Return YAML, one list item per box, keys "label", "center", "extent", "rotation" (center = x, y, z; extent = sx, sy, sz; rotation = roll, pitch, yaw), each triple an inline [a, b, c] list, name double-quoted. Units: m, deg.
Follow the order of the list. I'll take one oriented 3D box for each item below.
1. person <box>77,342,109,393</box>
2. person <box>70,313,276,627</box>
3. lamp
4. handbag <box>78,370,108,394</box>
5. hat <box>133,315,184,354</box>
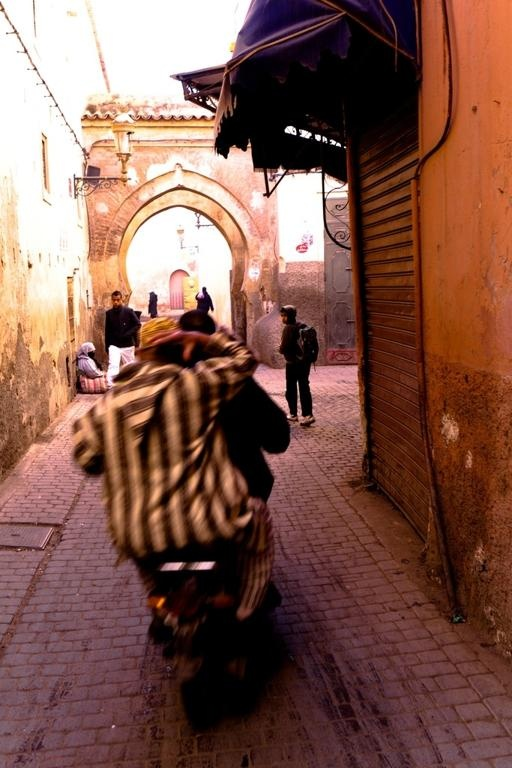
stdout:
- label: "person"
  center: [-3.721, -0.335, 11.457]
  extent: [0.654, 1.129, 0.672]
  rotation: [4, 10, 13]
- label: "person"
  center: [-0.256, 0.338, 1.710]
  extent: [0.627, 1.004, 0.620]
  rotation: [-6, 2, -9]
- label: "lamp"
  center: [-3.188, -5.052, 10.828]
  extent: [1.401, 0.561, 2.296]
  rotation: [-16, -29, -28]
- label: "handbag"
  center: [-3.605, -0.062, 11.252]
  extent: [0.458, 0.471, 0.515]
  rotation: [-1, 2, 2]
- label: "hat"
  center: [-0.322, -0.149, 1.672]
  extent: [0.106, 0.055, 0.137]
  rotation: [-33, 6, -33]
